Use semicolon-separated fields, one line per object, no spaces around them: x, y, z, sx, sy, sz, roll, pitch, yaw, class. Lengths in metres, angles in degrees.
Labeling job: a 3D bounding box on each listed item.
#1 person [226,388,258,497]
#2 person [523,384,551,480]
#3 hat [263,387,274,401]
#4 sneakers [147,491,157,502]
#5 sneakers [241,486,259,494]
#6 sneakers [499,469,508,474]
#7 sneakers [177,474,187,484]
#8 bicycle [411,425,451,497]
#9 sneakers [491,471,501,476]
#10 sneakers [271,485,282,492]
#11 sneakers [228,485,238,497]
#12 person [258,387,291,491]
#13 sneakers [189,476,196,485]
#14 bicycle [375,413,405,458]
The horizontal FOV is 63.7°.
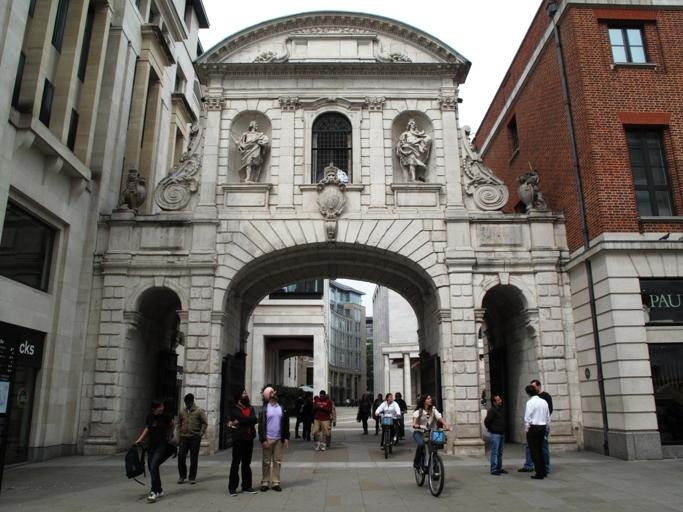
-2.522;4.787;14.057;0.679;2.391;0.624;4;-10;-26;person
5.515;4.903;15.388;0.601;2.481;0.724;-9;-12;42;person
-1.857;3.579;14.188;0.287;0.386;0.547;0;-10;-6;hat
-4.506;5.759;13.123;0.111;0.152;0.347;4;-18;-1;sneakers
-2.325;5.917;13.860;0.447;0.196;0.160;-2;-15;9;sneakers
4.713;6.257;15.976;0.335;0.142;0.117;4;-9;-19;sneakers
-4.353;6.122;15.100;0.262;0.182;0.415;2;-10;-15;sneakers
2.273;5.188;13.979;0.564;1.585;1.880;0;-10;-2;bicycle
4.423;6.215;15.709;0.252;0.180;0.097;-5;-9;15;sneakers
-1.646;5.941;14.099;0.239;0.148;0.301;1;-10;-8;sneakers
-2.688;5.844;13.689;0.217;0.195;0.400;1;-10;-11;sneakers
-1.783;4.767;14.481;0.728;2.621;1.460;1;-9;-8;person
-4.053;6.110;14.966;0.182;0.091;0.369;2;-4;-3;sneakers
1.726;6.579;19.866;0.833;1.198;2.013;-2;-28;4;bicycle
